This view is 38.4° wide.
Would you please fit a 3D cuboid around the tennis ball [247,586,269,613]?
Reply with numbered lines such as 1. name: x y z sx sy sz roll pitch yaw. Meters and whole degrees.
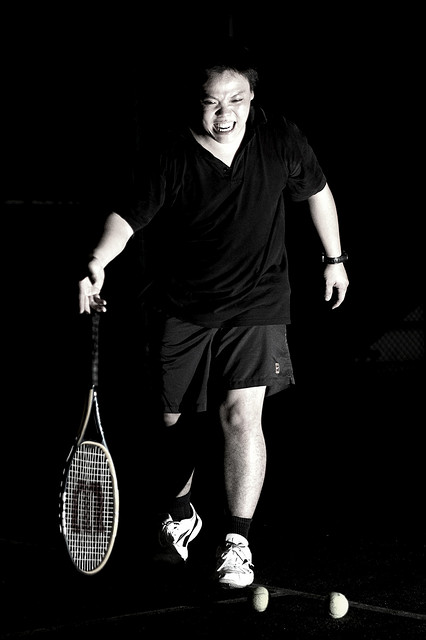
1. tennis ball: 0.096 0.587 1.277 0.028 0.044 0.032 8 -16 -2

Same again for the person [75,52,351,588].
1. person: -0.019 -0.043 1.640 0.651 1.213 0.748 18 24 18
